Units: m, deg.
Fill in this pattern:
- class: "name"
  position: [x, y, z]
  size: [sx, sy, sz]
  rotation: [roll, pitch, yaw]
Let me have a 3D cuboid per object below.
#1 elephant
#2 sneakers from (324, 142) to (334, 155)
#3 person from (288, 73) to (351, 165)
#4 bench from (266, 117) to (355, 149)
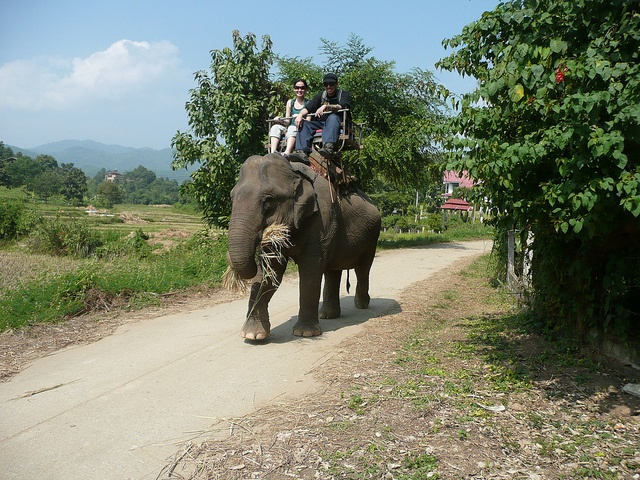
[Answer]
- class: "elephant"
  position: [-0.223, 0.197, 7.606]
  size: [1.260, 2.468, 3.304]
  rotation: [2, 0, 27]
- class: "sneakers"
  position: [0.134, -1.372, 7.536]
  size: [0.120, 0.169, 0.368]
  rotation: [1, 11, 5]
- class: "person"
  position: [0.092, -1.981, 8.179]
  size: [0.651, 1.693, 1.044]
  rotation: [-1, -8, 29]
- class: "bench"
  position: [0.040, -1.793, 8.672]
  size: [1.246, 0.685, 1.724]
  rotation: [4, 13, 16]
